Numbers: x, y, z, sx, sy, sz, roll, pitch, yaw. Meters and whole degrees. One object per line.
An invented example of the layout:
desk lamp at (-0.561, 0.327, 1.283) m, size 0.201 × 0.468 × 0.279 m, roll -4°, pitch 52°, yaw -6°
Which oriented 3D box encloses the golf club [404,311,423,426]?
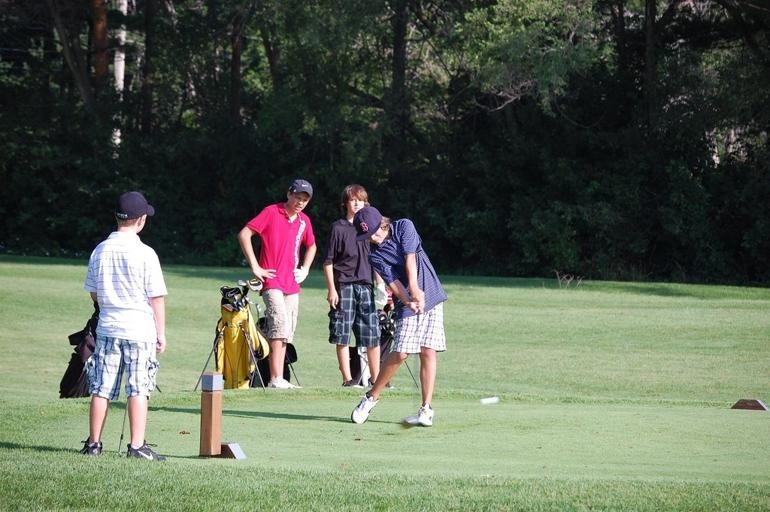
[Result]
golf club at (0.798, 4.318, 48.088) m, size 0.384 × 1.675 × 0.386 m, roll -1°, pitch -2°, yaw 35°
